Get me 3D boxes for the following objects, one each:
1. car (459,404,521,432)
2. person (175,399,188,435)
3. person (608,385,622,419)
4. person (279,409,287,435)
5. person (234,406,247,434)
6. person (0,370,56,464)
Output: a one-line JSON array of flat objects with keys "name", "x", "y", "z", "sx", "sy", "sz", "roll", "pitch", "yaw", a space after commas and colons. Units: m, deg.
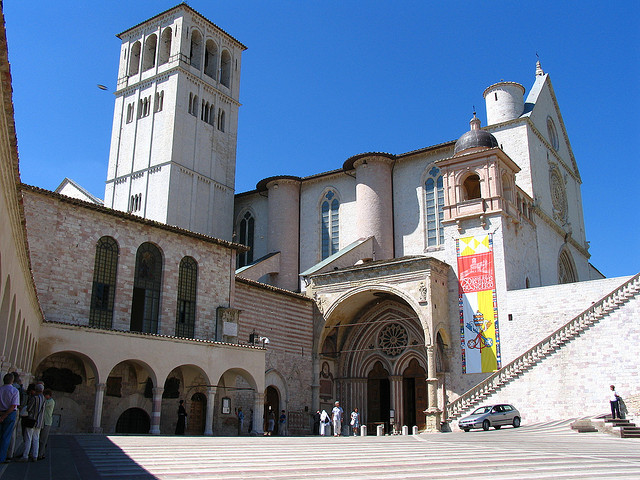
[{"name": "car", "x": 7.398, "y": 7.637, "z": 26.187, "sx": 2.784, "sy": 1.121, "sz": 1.015, "roll": 9, "pitch": -21, "yaw": -29}, {"name": "person", "x": -5.967, "y": 7.538, "z": 25.951, "sx": 0.446, "sy": 1.524, "sz": 2.105, "roll": 2, "pitch": -19, "yaw": -12}, {"name": "person", "x": 10.900, "y": 5.952, "z": 22.387, "sx": 0.367, "sy": 1.238, "sz": 0.960, "roll": -10, "pitch": -20, "yaw": 25}, {"name": "person", "x": -1.907, "y": 9.217, "z": 30.678, "sx": 0.360, "sy": 1.163, "sz": 0.848, "roll": 0, "pitch": -18, "yaw": -5}, {"name": "person", "x": -3.829, "y": 8.578, "z": 28.886, "sx": 0.401, "sy": 1.261, "sz": 1.493, "roll": 1, "pitch": -19, "yaw": -8}, {"name": "person", "x": -6.103, "y": 3.650, "z": 12.364, "sx": 0.571, "sy": 1.659, "sz": 1.537, "roll": 0, "pitch": -19, "yaw": -5}]
